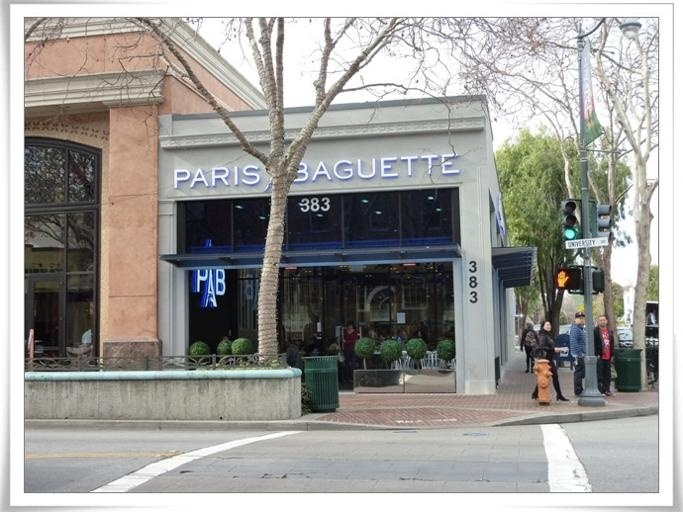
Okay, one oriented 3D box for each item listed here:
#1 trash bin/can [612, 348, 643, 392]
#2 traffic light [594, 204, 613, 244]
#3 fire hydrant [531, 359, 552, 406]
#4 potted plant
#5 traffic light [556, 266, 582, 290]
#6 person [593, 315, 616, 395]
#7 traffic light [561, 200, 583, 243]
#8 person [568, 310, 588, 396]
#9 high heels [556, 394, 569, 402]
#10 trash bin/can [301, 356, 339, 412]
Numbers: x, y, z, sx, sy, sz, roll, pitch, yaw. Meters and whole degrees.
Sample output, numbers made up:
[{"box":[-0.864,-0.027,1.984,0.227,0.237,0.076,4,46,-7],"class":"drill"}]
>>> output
[{"box":[7.916,3.158,24.861,1.117,1.297,1.136,-3,-5,34],"class":"trash bin/can"},{"box":[6.509,-0.846,22.324,0.460,0.909,0.314,1,0,12],"class":"traffic light"},{"box":[5.073,3.152,22.204,0.398,1.140,0.894,-2,-8,12],"class":"fire hydrant"},{"box":[1.804,2.941,26.335,2.912,1.884,1.508,-1,17,1],"class":"potted plant"},{"box":[5.614,0.549,21.832,0.575,0.544,0.192,-1,-3,17],"class":"traffic light"},{"box":[7.038,2.707,23.910,0.363,2.126,0.633,-3,-8,17],"class":"person"},{"box":[5.714,-0.892,21.979,0.440,1.009,0.865,-3,-8,15],"class":"traffic light"},{"box":[6.237,2.588,23.347,0.431,2.230,1.490,-3,-8,15],"class":"person"},{"box":[5.714,3.716,22.984,0.413,0.201,0.132,1,-5,-8],"class":"high heels"},{"box":[-0.489,3.247,22.178,1.205,1.431,1.191,1,-10,-16],"class":"trash bin/can"}]
